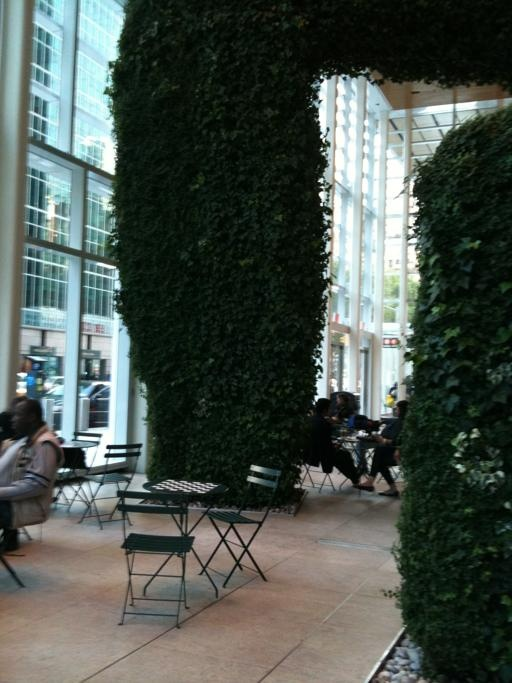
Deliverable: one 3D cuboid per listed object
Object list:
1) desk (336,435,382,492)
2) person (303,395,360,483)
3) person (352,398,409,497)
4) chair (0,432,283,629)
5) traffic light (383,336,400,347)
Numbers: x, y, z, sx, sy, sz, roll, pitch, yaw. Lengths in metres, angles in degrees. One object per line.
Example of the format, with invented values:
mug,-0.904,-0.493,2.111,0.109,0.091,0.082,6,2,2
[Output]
desk,1.672,1.938,11.799,0.802,0.562,0.773,-19,-34,33
person,1.032,1.451,10.521,0.717,1.275,2.174,0,-3,15
person,1.810,1.532,10.733,0.601,1.378,2.398,1,-3,8
chair,-0.547,1.570,5.528,1.379,0.599,1.238,1,34,2
traffic light,4.280,-0.033,23.530,0.364,0.222,0.189,-3,-10,27
